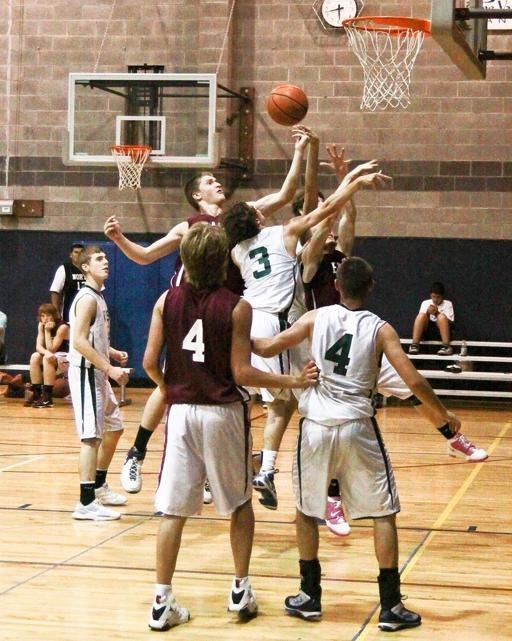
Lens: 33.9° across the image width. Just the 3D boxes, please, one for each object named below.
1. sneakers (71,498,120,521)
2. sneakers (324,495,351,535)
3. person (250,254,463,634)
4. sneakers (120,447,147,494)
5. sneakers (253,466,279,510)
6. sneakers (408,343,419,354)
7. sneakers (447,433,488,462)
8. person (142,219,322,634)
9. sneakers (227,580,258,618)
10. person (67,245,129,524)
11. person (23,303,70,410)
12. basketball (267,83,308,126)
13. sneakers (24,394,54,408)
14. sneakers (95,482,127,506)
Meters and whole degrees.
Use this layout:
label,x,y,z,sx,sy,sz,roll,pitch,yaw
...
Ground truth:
label,x,y,z,sx,sy,sz,roll,pitch,yaw
sneakers,-0.853,1.007,4.496,0.258,0.121,0.100,3,-6,-3
sneakers,0.375,0.935,4.045,0.130,0.160,0.394,-1,-8,-7
person,0.327,0.423,3.075,0.808,1.329,0.450,1,3,14
sneakers,-0.647,0.765,4.374,0.088,0.264,0.112,12,-39,-34
sneakers,0.055,0.843,4.183,0.079,0.111,0.232,-4,-26,17
sneakers,1.783,0.293,9.483,0.094,0.125,0.129,0,3,10
sneakers,0.934,0.575,3.863,0.098,0.135,0.283,-6,-1,-32
person,-0.145,0.368,2.977,0.510,1.434,0.289,0,1,-9
sneakers,-0.046,1.009,3.063,0.077,0.112,0.175,0,1,8
person,-0.853,0.319,4.490,0.318,1.468,0.749,0,1,-10
person,-2.289,0.364,9.103,0.456,1.114,1.121,0,1,-13
basketball,0.202,-1.470,5.683,0.255,0.357,0.362,1,1,9
sneakers,-2.375,0.861,9.101,0.284,0.118,0.225,0,1,-18
sneakers,-0.831,0.982,4.744,0.223,0.102,0.076,9,6,-42
